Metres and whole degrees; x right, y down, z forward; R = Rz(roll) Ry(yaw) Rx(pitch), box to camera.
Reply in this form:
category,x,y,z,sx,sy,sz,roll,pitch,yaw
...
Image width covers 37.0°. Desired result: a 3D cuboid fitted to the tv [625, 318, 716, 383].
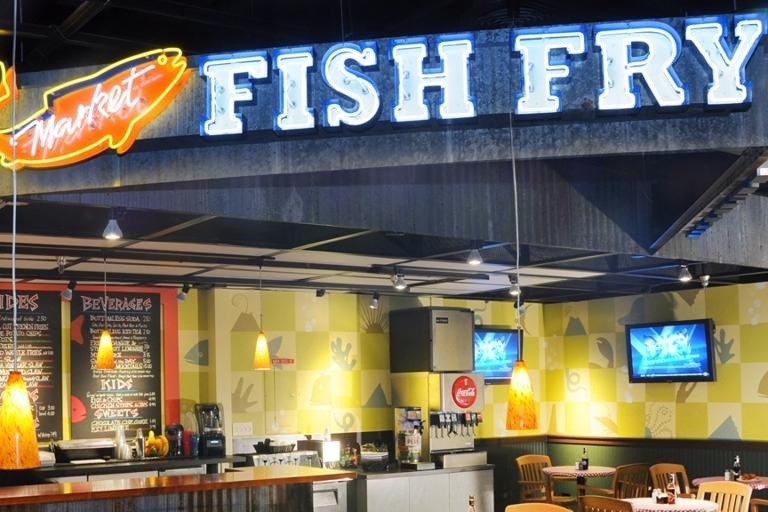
category,x,y,z,sx,sy,sz,roll,pitch,yaw
tv,3.850,1.255,15.446,0.092,0.833,1.313,8,-13,-43

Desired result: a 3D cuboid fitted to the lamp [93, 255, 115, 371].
category,x,y,z,sx,sy,sz,roll,pitch,yaw
lamp,-3.121,0.581,12.805,0.239,1.283,0.241,-2,5,-20

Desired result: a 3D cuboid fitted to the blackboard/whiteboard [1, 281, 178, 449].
category,x,y,z,sx,sy,sz,roll,pitch,yaw
blackboard/whiteboard,-3.501,1.262,13.292,1.935,1.927,0.086,4,-7,-36

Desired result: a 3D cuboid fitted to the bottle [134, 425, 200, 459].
category,x,y,z,sx,sy,sz,roll,pitch,yaw
bottle,-2.578,2.217,13.709,0.665,0.390,0.402,4,-5,-27

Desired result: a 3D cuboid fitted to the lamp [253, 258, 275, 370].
category,x,y,z,sx,sy,sz,roll,pitch,yaw
lamp,-1.458,0.686,13.447,0.237,1.175,0.231,-5,7,-38

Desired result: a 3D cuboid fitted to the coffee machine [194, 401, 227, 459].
category,x,y,z,sx,sy,sz,roll,pitch,yaw
coffee machine,-2.091,2.085,13.913,0.378,0.663,0.394,2,-10,-19

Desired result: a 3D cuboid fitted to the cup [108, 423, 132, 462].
category,x,y,z,sx,sy,sz,roll,pitch,yaw
cup,-3.119,2.173,13.588,0.209,0.430,0.508,1,-10,-13
